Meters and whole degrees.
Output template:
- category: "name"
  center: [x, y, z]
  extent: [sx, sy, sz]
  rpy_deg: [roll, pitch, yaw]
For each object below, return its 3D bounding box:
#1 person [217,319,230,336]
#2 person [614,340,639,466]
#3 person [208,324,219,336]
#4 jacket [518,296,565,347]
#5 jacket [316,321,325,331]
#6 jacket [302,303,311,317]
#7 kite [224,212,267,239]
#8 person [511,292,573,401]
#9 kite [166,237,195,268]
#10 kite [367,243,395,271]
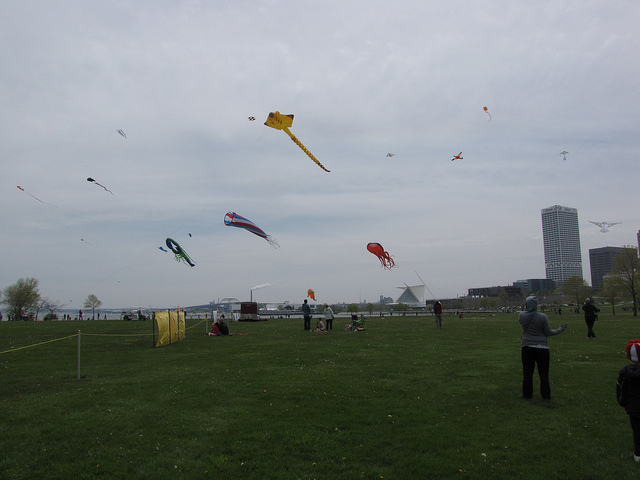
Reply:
- category: "person"
  center: [-6.659, 6.049, 40.045]
  extent: [0.648, 0.792, 1.367]
  rpy_deg: [0, 1, -17]
- category: "person"
  center: [8.254, 4.245, 15.775]
  extent: [0.517, 3.114, 1.123]
  rpy_deg: [0, 0, 27]
- category: "person"
  center: [-7.362, 6.209, 40.321]
  extent: [0.820, 0.822, 0.585]
  rpy_deg: [-1, 4, -11]
- category: "jacket"
  center: [6.987, 2.639, 18.907]
  extent: [1.087, 1.616, 0.771]
  rpy_deg: [0, 1, 24]
- category: "jacket"
  center: [0.021, 6.203, 41.845]
  extent: [0.491, 0.677, 0.976]
  rpy_deg: [0, 1, 0]
- category: "jacket"
  center: [-1.021, 5.058, 42.222]
  extent: [0.373, 1.023, 0.902]
  rpy_deg: [0, 1, 5]
- category: "kite"
  center: [-5.430, -1.126, 41.027]
  extent: [2.328, 1.426, 4.093]
  rpy_deg: [0, 1, -9]
- category: "person"
  center: [6.921, 3.489, 18.975]
  extent: [1.110, 3.317, 0.939]
  rpy_deg: [0, 0, 21]
- category: "kite"
  center: [-8.916, 0.728, 36.759]
  extent: [0.607, 2.217, 0.794]
  rpy_deg: [-47, -2, -27]
- category: "kite"
  center: [4.850, 1.066, 48.610]
  extent: [1.085, 2.617, 0.687]
  rpy_deg: [-32, -33, -7]
